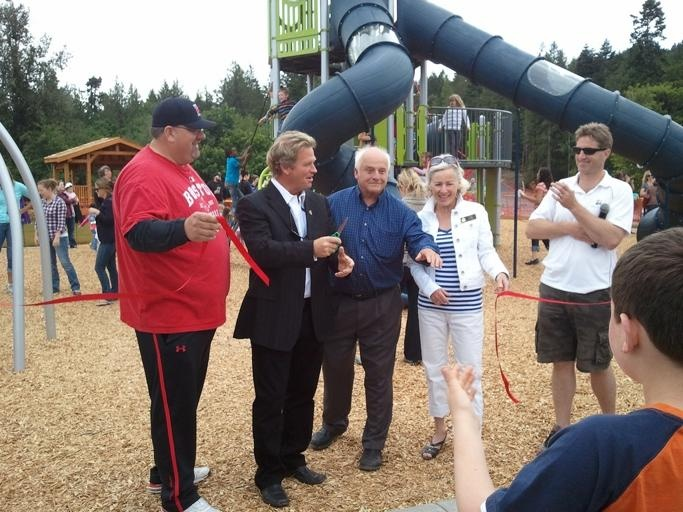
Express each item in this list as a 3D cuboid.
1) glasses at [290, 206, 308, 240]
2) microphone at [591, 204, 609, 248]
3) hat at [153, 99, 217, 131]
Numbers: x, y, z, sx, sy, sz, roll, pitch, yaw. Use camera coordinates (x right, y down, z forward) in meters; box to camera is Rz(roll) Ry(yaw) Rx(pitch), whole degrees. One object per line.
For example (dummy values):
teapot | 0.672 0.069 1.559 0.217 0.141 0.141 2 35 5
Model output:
glasses | -0.295 -0.238 4.995 0.056 0.206 0.138 -11 1 37
microphone | 1.991 -0.236 5.365 0.091 0.293 0.199 11 0 7
hat | -1.053 -0.902 4.577 0.320 0.190 0.213 -5 28 -14
